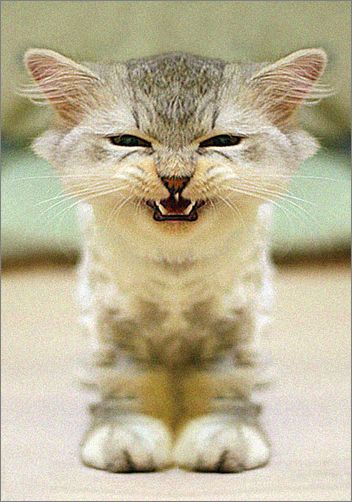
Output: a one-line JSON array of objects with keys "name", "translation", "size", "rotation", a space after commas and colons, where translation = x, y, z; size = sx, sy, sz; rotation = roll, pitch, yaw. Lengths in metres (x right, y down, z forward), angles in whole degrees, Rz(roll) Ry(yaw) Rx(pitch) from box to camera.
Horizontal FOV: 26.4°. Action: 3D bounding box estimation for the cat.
[{"name": "cat", "translation": [0.059, -0.018, 1.462], "size": [0.609, 0.752, 0.534], "rotation": [-7, 20, -9]}]
